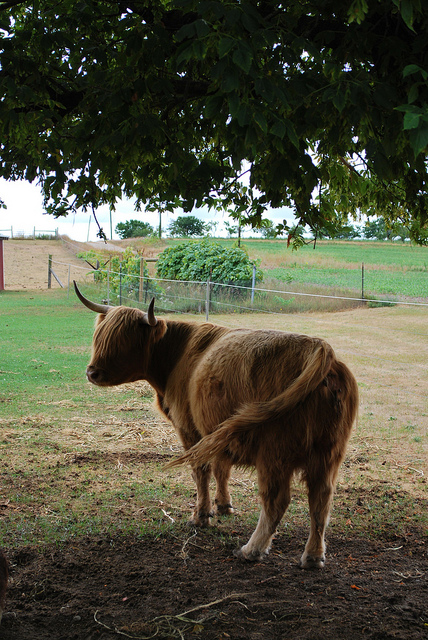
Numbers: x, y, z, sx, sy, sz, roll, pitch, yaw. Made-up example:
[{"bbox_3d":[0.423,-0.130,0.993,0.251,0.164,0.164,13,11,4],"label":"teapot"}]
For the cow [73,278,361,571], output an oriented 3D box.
[{"bbox_3d":[-0.084,0.697,4.208,0.860,1.601,2.366,3,1,-42],"label":"cow"}]
